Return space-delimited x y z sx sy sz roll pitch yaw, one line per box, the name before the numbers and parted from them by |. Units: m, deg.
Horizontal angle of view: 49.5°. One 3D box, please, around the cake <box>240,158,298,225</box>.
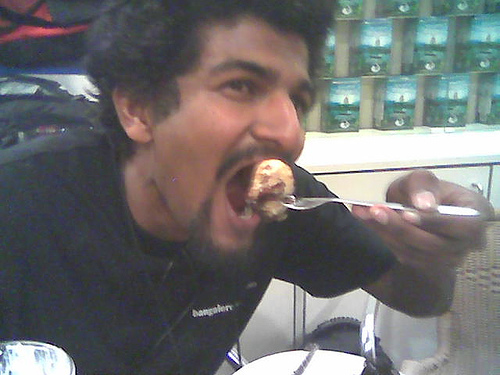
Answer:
cake | 0.038 0.011 1.292 0.129 0.168 0.080 -6 11 -13
